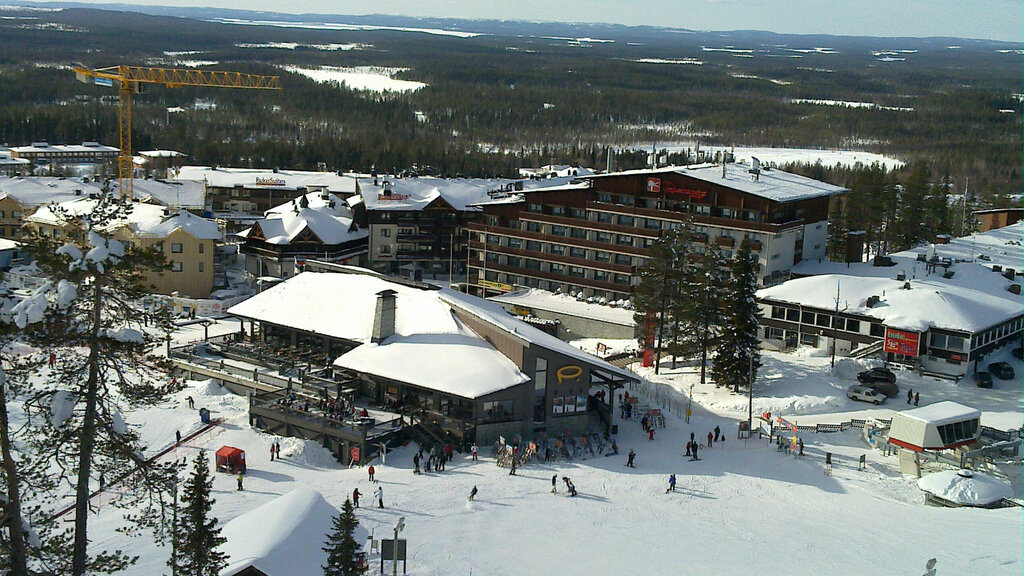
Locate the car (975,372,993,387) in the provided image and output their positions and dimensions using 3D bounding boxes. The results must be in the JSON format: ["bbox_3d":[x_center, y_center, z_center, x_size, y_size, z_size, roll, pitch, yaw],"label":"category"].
[{"bbox_3d":[47.621,9.224,113.979,1.050,0.888,1.844,3,30,19],"label":"car"}]

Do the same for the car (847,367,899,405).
[{"bbox_3d":[35.966,9.540,112.028,3.610,2.591,4.281,14,19,40],"label":"car"}]

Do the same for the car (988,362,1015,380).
[{"bbox_3d":[50.079,8.335,115.424,1.633,1.005,2.173,-8,12,-8],"label":"car"}]
